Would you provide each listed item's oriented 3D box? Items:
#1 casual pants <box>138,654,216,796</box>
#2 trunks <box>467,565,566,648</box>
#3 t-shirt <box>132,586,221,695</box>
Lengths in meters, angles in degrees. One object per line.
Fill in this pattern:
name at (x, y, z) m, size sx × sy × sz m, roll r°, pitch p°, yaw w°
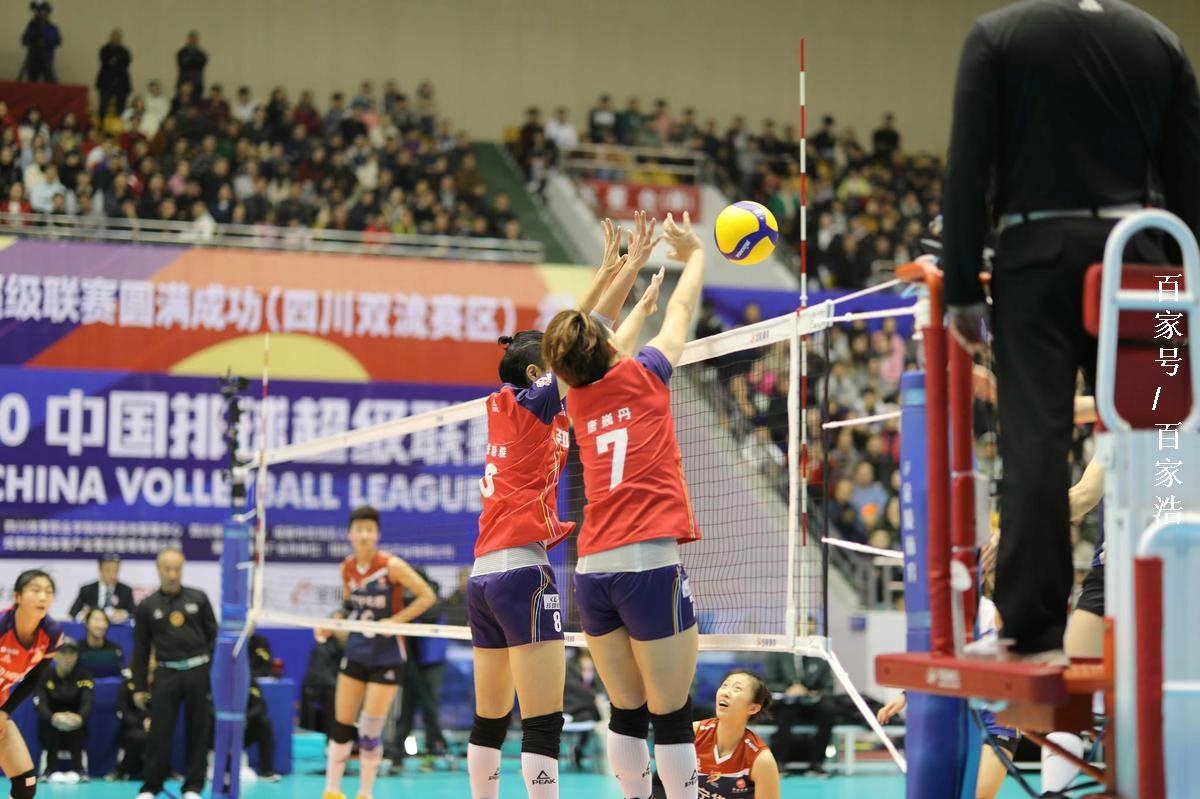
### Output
casual pants at (-5.694, 4.370, 28.466) m, size 0.880 × 1.752 × 0.483 m, roll 2°, pitch -10°, yaw -14°
trunks at (-1.007, 2.383, 24.252) m, size 0.836 × 0.951 × 1.286 m, roll 2°, pitch -9°, yaw -37°
t-shirt at (-5.702, 3.260, 28.571) m, size 1.248 × 1.493 × 0.653 m, roll -4°, pitch -9°, yaw -20°
